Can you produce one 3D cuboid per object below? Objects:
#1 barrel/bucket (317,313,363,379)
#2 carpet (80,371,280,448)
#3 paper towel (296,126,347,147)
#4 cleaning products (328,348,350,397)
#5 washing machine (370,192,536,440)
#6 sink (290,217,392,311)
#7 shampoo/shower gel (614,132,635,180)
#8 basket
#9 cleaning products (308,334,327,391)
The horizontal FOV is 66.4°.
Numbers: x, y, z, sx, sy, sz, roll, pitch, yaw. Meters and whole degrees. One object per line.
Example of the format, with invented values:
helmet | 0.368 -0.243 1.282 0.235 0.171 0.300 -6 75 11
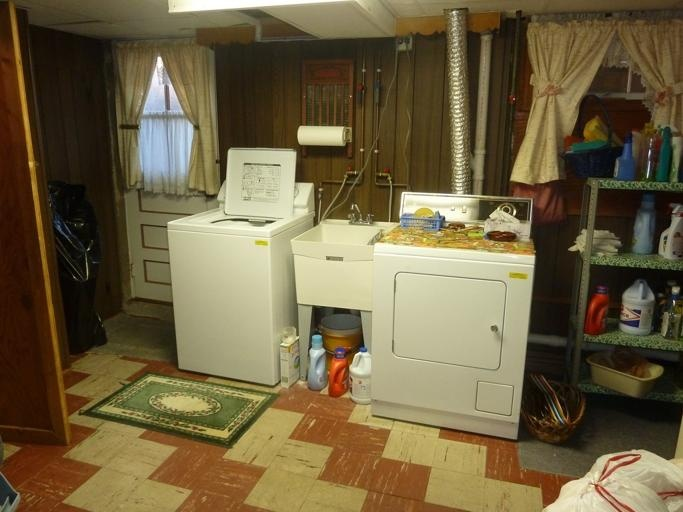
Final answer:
barrel/bucket | -0.027 0.648 3.779 0.336 0.325 0.327 0 9 0
carpet | -1.050 0.993 3.453 1.101 0.079 0.559 4 16 16
paper towel | -0.130 -0.890 3.878 0.400 0.139 0.160 -2 15 -3
cleaning products | -0.021 0.786 3.572 0.162 0.329 0.123 -5 15 -14
washing machine | 0.701 0.348 3.382 0.934 1.359 0.713 3 15 15
sink | 0.001 0.078 3.722 0.614 0.430 0.678 3 11 16
shampoo/shower gel | 1.676 -0.574 3.053 0.118 0.262 0.117 3 16 15
basket | 1.288 0.887 3.229 0.347 0.197 0.391 -4 13 -11
cleaning products | -0.171 0.729 3.645 0.158 0.393 0.134 -5 15 -13
